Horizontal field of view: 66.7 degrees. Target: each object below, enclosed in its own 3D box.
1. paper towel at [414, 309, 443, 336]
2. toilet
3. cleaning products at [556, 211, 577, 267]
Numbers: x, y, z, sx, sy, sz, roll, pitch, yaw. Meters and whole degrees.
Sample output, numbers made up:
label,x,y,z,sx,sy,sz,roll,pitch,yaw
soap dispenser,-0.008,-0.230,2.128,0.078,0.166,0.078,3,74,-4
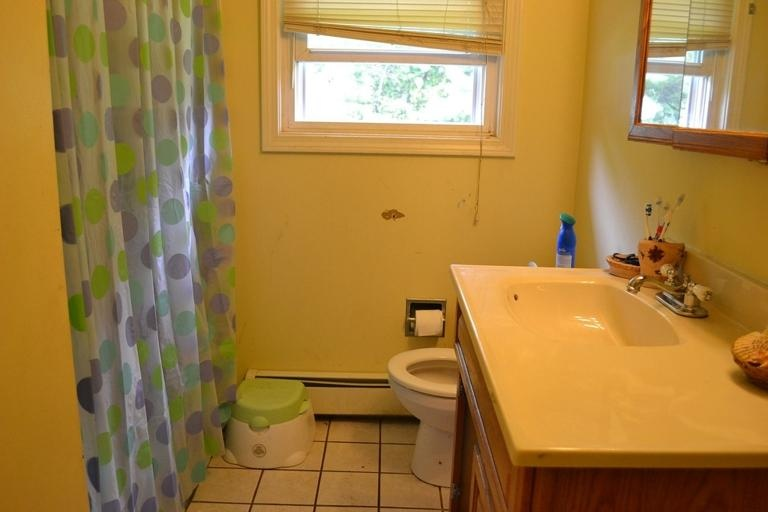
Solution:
label,x,y,z,sx,sy,sz,roll,pitch,yaw
paper towel,0.215,0.316,2.734,0.150,0.146,0.107,0,18,-4
toilet,0.188,0.624,2.520,0.432,0.424,0.516,3,15,4
cleaning products,0.717,-0.041,2.292,0.069,0.231,0.284,5,21,17
